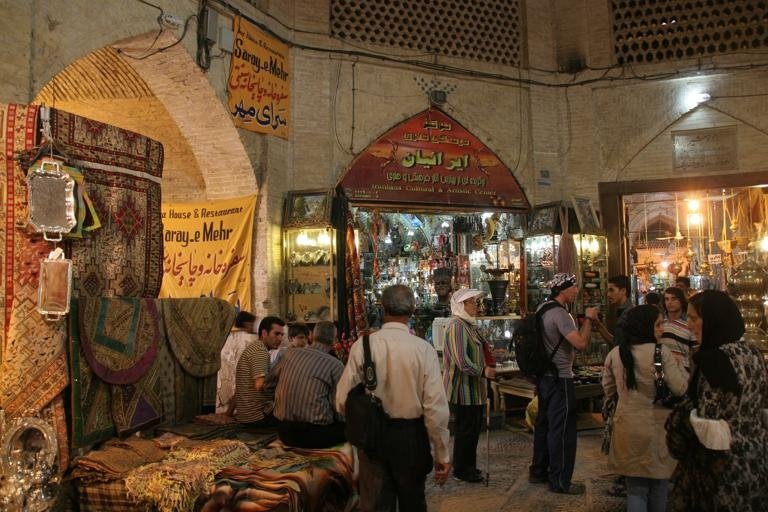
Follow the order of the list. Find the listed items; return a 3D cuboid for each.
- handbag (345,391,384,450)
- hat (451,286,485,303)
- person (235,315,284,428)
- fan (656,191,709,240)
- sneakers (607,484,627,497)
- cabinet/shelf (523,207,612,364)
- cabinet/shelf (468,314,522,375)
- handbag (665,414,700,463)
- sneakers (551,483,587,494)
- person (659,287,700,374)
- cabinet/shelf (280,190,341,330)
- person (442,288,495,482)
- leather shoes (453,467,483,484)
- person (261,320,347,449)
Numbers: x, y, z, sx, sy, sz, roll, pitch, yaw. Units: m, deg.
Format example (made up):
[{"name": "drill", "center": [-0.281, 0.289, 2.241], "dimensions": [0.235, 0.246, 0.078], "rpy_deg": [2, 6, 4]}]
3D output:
[{"name": "handbag", "center": [-0.156, 1.443, 6.532], "dimensions": [0.277, 0.497, 0.463], "rpy_deg": [2, -6, -30]}, {"name": "hat", "center": [0.904, 0.472, 8.395], "dimensions": [0.250, 0.094, 0.183], "rpy_deg": [-20, -1, 27]}, {"name": "person", "center": [-1.310, 1.283, 8.599], "dimensions": [0.718, 1.136, 0.746], "rpy_deg": [-3, -9, 10]}, {"name": "fan", "center": [7.118, -0.968, 17.957], "dimensions": [1.060, 1.236, 1.115], "rpy_deg": [7, -4, 43]}, {"name": "sneakers", "center": [2.456, 2.503, 7.940], "dimensions": [0.042, 0.115, 0.142], "rpy_deg": [20, -26, -40]}, {"name": "cabinet/shelf", "center": [3.026, 0.510, 12.662], "dimensions": [1.212, 2.890, 1.140], "rpy_deg": [-1, 0, -38]}, {"name": "cabinet/shelf", "center": [1.688, 1.472, 11.991], "dimensions": [0.871, 0.877, 0.658], "rpy_deg": [-2, -14, -25]}, {"name": "handbag", "center": [2.529, 1.557, 6.388], "dimensions": [0.135, 0.356, 0.273], "rpy_deg": [7, -15, -44]}, {"name": "sneakers", "center": [1.968, 2.503, 8.049], "dimensions": [0.377, 0.164, 0.141], "rpy_deg": [-4, -2, 10]}, {"name": "person", "center": [2.857, 0.752, 7.280], "dimensions": [0.262, 0.834, 0.467], "rpy_deg": [14, -26, -13]}, {"name": "cabinet/shelf", "center": [-1.131, 0.071, 11.381], "dimensions": [0.792, 2.102, 0.272], "rpy_deg": [-2, 20, -10]}, {"name": "person", "center": [0.943, 1.441, 8.308], "dimensions": [0.551, 2.155, 0.432], "rpy_deg": [0, -3, 4]}, {"name": "leather shoes", "center": [0.952, 2.471, 8.341], "dimensions": [0.346, 0.152, 0.121], "rpy_deg": [-4, -4, 16]}, {"name": "person", "center": [-0.703, 1.376, 7.791], "dimensions": [0.977, 1.278, 0.878], "rpy_deg": [11, -13, -13]}]
